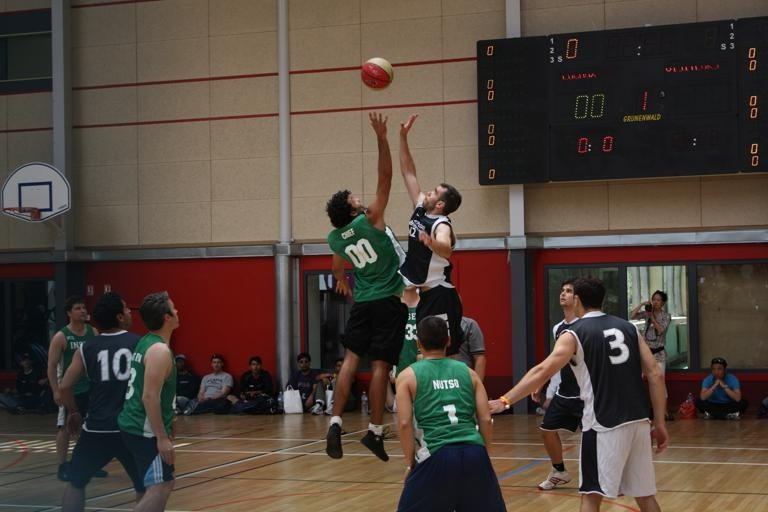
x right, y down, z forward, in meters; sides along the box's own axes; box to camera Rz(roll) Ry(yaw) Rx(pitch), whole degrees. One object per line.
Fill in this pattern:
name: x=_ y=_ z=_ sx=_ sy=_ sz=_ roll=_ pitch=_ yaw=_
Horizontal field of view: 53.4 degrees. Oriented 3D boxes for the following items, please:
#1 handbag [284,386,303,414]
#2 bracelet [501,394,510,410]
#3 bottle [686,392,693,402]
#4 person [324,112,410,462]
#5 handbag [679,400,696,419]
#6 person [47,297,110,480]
handbag: x=-1.928 y=3.086 z=16.247 sx=0.489 sy=0.722 sz=0.265 roll=-2 pitch=-3 yaw=0
bracelet: x=1.142 y=1.358 z=7.098 sx=0.043 sy=0.131 sz=0.109 roll=-7 pitch=-10 yaw=-9
bottle: x=5.940 y=2.739 z=14.828 sx=0.107 sy=0.134 sz=0.228 roll=-1 pitch=-22 yaw=6
person: x=-0.196 y=0.305 z=8.676 sx=0.914 sy=4.088 sz=1.121 roll=-1 pitch=-3 yaw=0
handbag: x=5.784 y=2.933 z=14.597 sx=0.289 sy=0.350 sz=0.310 roll=4 pitch=-7 yaw=2
person: x=-4.054 y=1.765 z=10.099 sx=0.599 sy=2.396 sz=0.722 roll=-1 pitch=-2 yaw=41
